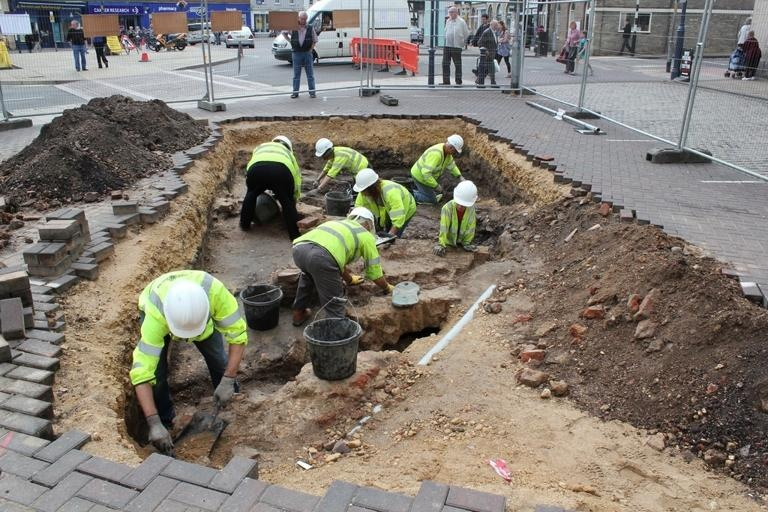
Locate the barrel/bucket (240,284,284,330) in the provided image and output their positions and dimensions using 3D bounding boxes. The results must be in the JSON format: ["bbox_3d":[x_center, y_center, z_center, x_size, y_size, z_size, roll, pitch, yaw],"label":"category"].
[{"bbox_3d":[-1.618,0.716,7.539,0.657,0.440,0.579,14,34,15],"label":"barrel/bucket"}]

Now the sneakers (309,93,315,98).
[{"bbox_3d":[-1.879,-4.169,14.530,0.160,0.053,0.193,-2,13,-6],"label":"sneakers"}]

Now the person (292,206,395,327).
[{"bbox_3d":[-0.607,0.135,7.087,0.891,1.313,1.038,17,30,35],"label":"person"}]

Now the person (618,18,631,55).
[{"bbox_3d":[6.308,-5.696,14.522,0.197,0.902,0.658,18,31,35],"label":"person"}]

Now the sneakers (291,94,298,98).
[{"bbox_3d":[-2.319,-4.145,14.512,0.182,0.067,0.069,0,31,-6],"label":"sneakers"}]

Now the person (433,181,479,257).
[{"bbox_3d":[1.081,-0.570,8.404,0.603,1.126,0.431,2,25,7],"label":"person"}]

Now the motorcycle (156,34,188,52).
[{"bbox_3d":[-12.125,-12.127,31.913,1.418,0.802,2.757,-3,21,-4],"label":"motorcycle"}]

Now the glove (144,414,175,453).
[{"bbox_3d":[-2.050,1.646,5.307,0.228,0.087,0.368,-40,11,6],"label":"glove"}]

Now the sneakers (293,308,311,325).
[{"bbox_3d":[-1.116,0.820,7.503,0.101,0.159,0.235,20,45,25],"label":"sneakers"}]

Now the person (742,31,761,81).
[{"bbox_3d":[5.835,-3.167,8.876,0.233,0.725,0.723,9,25,22],"label":"person"}]

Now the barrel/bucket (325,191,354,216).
[{"bbox_3d":[-0.824,-0.892,10.037,0.512,0.345,0.460,-2,33,-9],"label":"barrel/bucket"}]

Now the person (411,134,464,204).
[{"bbox_3d":[1.021,-1.515,10.614,1.327,1.518,0.704,3,32,-1],"label":"person"}]

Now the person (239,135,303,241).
[{"bbox_3d":[-1.826,-1.004,8.943,0.943,1.502,0.612,1,25,5],"label":"person"}]

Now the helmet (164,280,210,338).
[{"bbox_3d":[-1.905,0.475,5.402,0.467,0.284,0.571,5,40,-19],"label":"helmet"}]

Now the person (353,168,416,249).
[{"bbox_3d":[0.105,-0.737,8.960,1.121,1.227,0.924,-14,19,-24],"label":"person"}]

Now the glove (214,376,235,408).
[{"bbox_3d":[-1.636,1.382,5.772,0.223,0.320,0.109,17,3,-2],"label":"glove"}]

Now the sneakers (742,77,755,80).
[{"bbox_3d":[5.869,-2.847,9.018,0.148,0.051,0.044,-5,40,6],"label":"sneakers"}]

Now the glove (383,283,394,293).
[{"bbox_3d":[0.050,0.437,7.554,0.152,0.064,0.174,0,8,1],"label":"glove"}]
